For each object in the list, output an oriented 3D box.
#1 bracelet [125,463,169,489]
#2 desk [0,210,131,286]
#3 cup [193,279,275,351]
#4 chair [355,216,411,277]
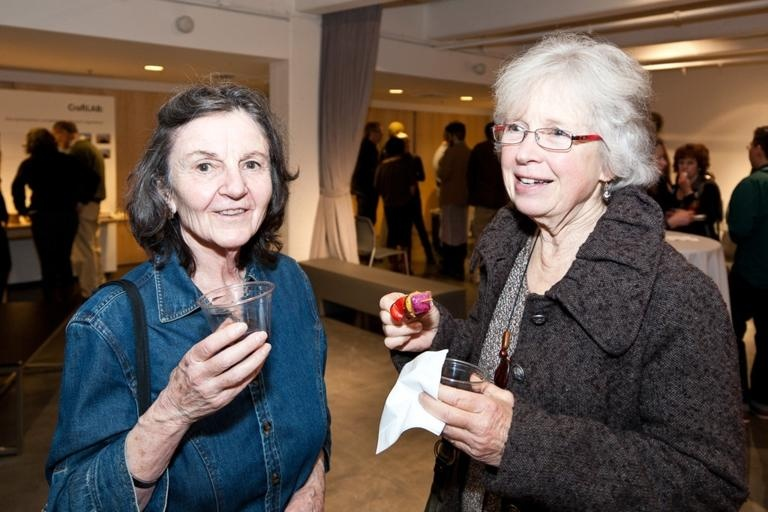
[{"bbox_3d":[-0.702,0.650,1.675,0.063,0.017,0.066,12,4,-9],"label":"bracelet"},{"bbox_3d":[-3.967,-0.100,6.882,1.435,0.802,0.961,5,9,37],"label":"desk"},{"bbox_3d":[-0.430,0.162,1.607,0.223,0.150,0.188,0,13,4],"label":"cup"},{"bbox_3d":[0.004,-0.122,7.589,0.557,1.022,0.532,-15,21,-28],"label":"chair"}]
